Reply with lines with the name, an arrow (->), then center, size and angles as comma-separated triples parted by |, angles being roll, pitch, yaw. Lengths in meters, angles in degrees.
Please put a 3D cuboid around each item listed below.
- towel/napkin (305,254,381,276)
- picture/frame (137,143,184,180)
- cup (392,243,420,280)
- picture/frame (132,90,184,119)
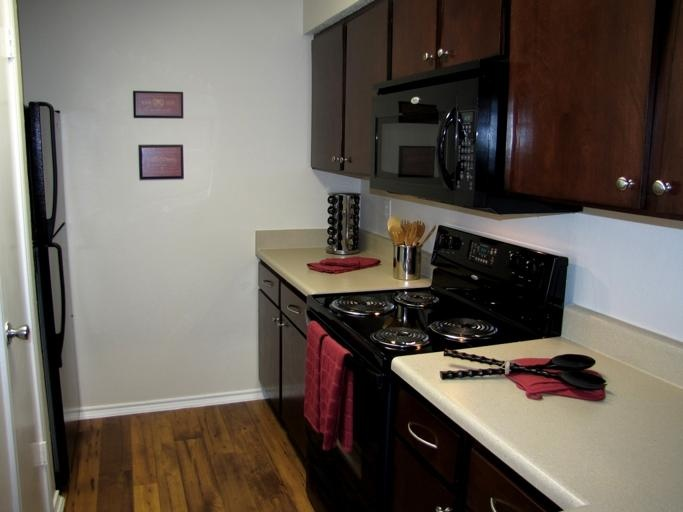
towel/napkin -> 0.036, 0.054, 3.000 | 0.450, 0.037, 0.242 | -3, 14, -15
picture/frame -> -1.154, -0.601, 3.244 | 0.203, 0.188, 0.017 | -4, 11, -13
cup -> 0.315, 0.032, 2.704 | 0.154, 0.190, 0.163 | 0, 4, 0
picture/frame -> -1.141, -0.936, 3.203 | 0.291, 0.163, 0.017 | -3, 13, -16
